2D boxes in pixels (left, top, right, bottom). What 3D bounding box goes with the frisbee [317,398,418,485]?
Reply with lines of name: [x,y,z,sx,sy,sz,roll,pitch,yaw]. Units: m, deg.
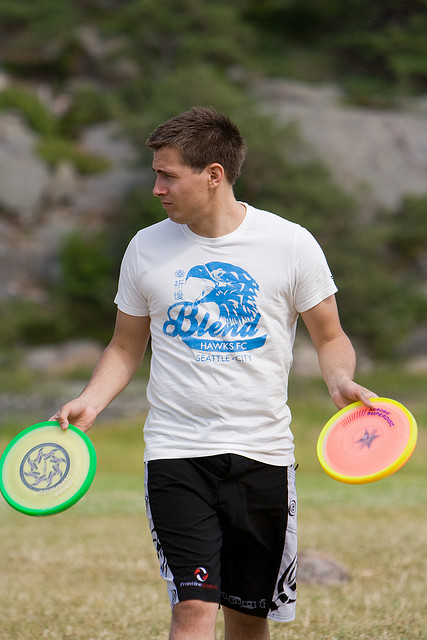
frisbee: [0.482,0.380,2.651,0.292,0.174,0.317,3,20,7]

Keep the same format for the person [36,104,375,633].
person: [0.048,0.204,2.710,0.887,1.692,0.890,-14,27,-28]
